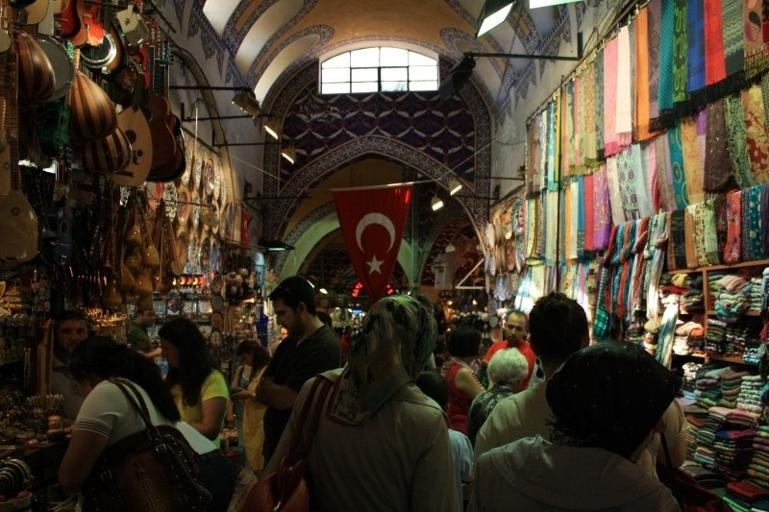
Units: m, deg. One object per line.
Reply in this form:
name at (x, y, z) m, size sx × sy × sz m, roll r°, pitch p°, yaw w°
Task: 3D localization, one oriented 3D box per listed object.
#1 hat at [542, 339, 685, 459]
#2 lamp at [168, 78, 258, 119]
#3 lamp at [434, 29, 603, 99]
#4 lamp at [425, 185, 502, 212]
hat at (0.948, 0.573, 2.740) m, size 0.377 × 0.291 × 0.539 m, roll -8°, pitch 26°, yaw 44°
lamp at (-2.465, -2.437, 9.564) m, size 1.111 × 0.399 × 0.693 m, roll -1°, pitch -1°, yaw -1°
lamp at (1.794, -2.664, 9.314) m, size 1.931 × 1.113 × 1.130 m, roll 3°, pitch 10°, yaw 7°
lamp at (1.811, -1.305, 14.656) m, size 0.904 × 0.255 × 0.894 m, roll 16°, pitch -1°, yaw -29°
